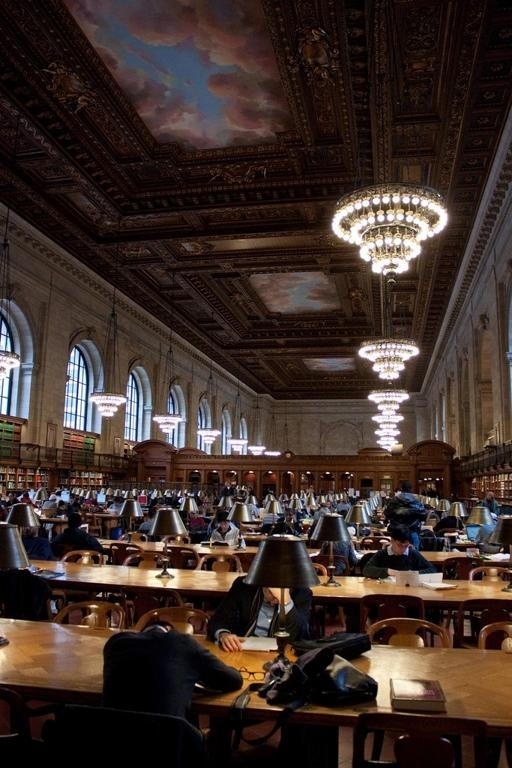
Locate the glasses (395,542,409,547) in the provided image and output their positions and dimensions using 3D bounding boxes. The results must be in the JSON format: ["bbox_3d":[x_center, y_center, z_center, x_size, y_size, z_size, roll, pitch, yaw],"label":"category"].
[{"bbox_3d":[1.391,1.526,5.171,0.082,0.028,0.085,3,-23,6],"label":"glasses"}]

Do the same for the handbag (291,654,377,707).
[{"bbox_3d":[0.289,1.053,1.984,0.295,0.170,0.179,0,-11,10],"label":"handbag"}]

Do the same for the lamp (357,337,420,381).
[{"bbox_3d":[3.425,-0.881,13.856,1.421,0.851,1.407,3,-11,5],"label":"lamp"}]
